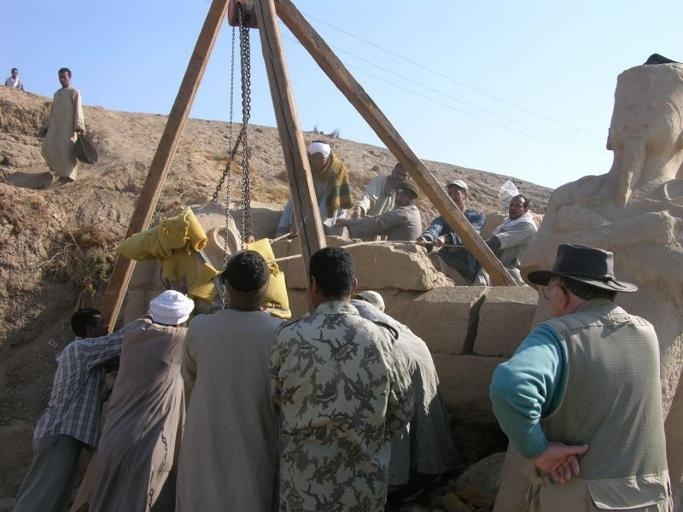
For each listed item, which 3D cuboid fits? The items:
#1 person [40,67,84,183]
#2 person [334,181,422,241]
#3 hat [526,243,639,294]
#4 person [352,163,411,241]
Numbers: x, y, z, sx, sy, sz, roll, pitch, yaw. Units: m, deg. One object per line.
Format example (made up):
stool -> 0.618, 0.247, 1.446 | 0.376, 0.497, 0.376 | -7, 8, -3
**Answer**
person -> -5.679, -2.685, 11.516 | 0.810, 2.227, 0.573 | 2, 2, -5
person -> 0.642, -0.671, 8.572 | 1.096, 0.877, 0.802 | 0, 4, 6
hat -> 1.286, 0.066, 3.088 | 0.389, 0.161, 0.349 | 14, 0, 37
person -> 0.592, -0.680, 8.631 | 1.270, 0.992, 0.945 | 3, 8, 2
